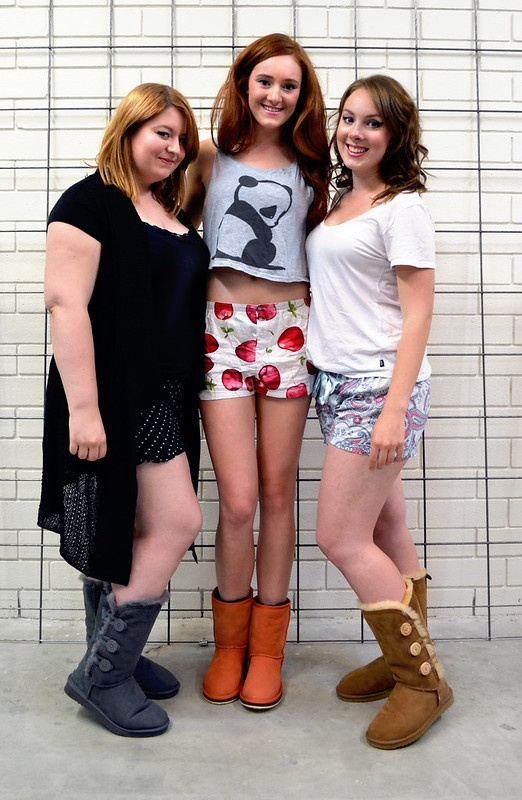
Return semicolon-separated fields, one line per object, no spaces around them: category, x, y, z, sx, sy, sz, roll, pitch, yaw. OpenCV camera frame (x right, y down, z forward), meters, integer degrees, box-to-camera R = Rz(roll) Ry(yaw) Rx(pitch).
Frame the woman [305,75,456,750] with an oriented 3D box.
woman;0.267;0.005;1.873;0.325;1.404;0.460;0;10;-1

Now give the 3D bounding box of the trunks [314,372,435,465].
trunks;0.214;0.030;1.930;0.183;0.156;0.247;16;-3;-27

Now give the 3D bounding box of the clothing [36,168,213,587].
clothing;-0.298;-0.056;1.871;0.259;0.861;0.361;6;12;29

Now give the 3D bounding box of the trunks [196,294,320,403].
trunks;-0.033;-0.118;2.016;0.289;0.218;0.156;-5;5;-26

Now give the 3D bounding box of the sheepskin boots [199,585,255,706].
sheepskin boots;-0.090;0.576;2.035;0.121;0.179;0.271;2;10;8

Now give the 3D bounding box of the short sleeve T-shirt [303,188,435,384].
short sleeve T-shirt;0.233;-0.237;1.819;0.276;0.398;0.453;-3;7;-26

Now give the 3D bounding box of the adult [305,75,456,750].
adult;0.267;0.005;1.873;0.325;1.404;0.460;0;10;-1

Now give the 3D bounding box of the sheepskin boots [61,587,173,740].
sheepskin boots;-0.279;0.553;1.839;0.291;0.289;0.151;16;12;40
